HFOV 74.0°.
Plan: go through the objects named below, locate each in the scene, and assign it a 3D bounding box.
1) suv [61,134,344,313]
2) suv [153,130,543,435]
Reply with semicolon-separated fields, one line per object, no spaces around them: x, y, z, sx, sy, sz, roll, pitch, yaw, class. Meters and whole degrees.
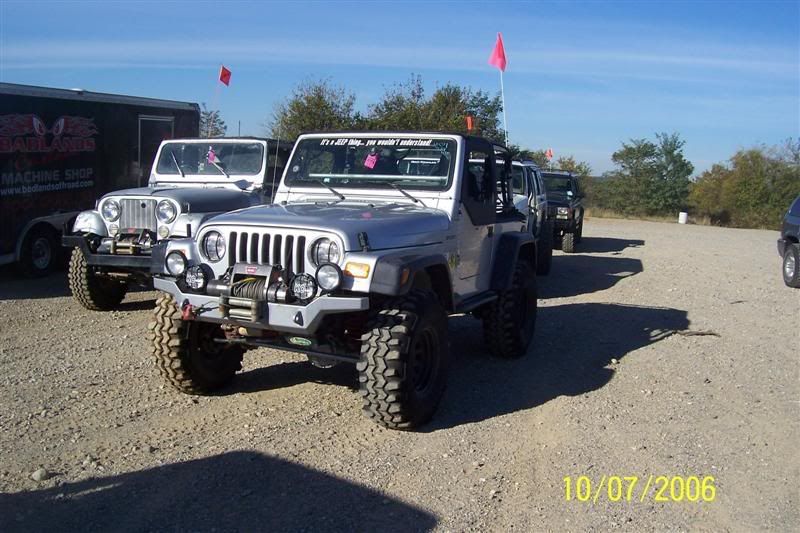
-3.452;-0.962;10.040;2.838;3.097;5.093;3;5;23;suv
-0.206;-0.105;6.257;2.398;2.421;4.503;1;2;27;suv
